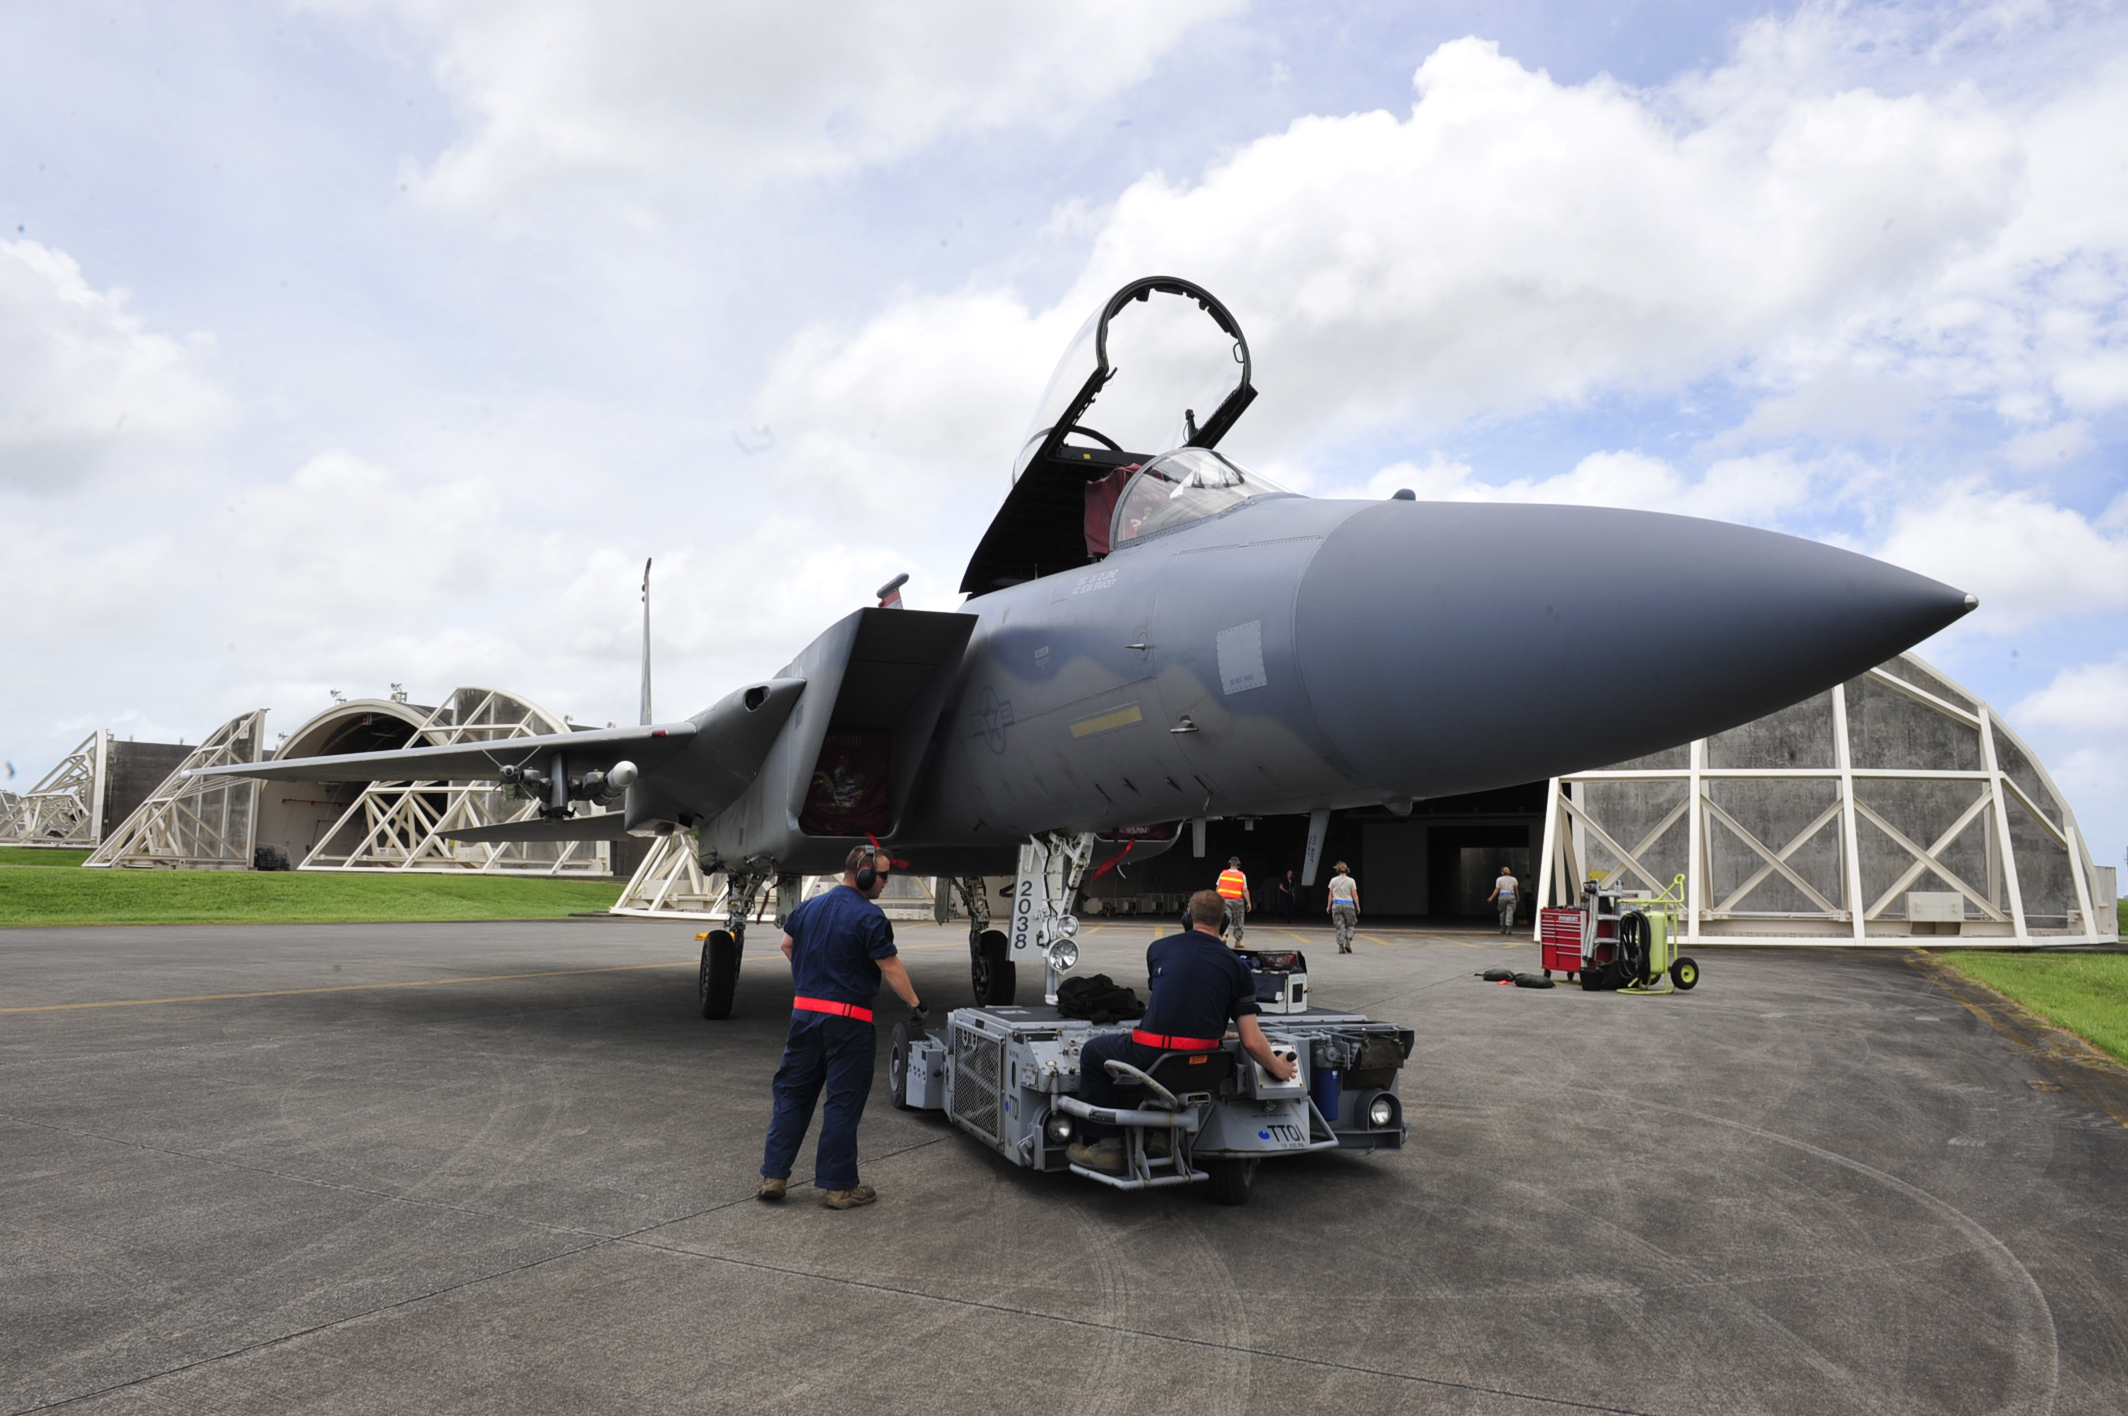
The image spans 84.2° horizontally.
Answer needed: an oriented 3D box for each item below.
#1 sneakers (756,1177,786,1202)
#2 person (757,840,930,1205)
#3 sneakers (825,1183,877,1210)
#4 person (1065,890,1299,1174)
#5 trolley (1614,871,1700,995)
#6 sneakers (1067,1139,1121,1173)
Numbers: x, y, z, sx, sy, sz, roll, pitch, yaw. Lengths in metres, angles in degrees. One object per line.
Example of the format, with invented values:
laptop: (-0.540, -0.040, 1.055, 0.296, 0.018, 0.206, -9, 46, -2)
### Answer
sneakers: (-1.669, 2.775, 6.834, 0.189, 0.148, 0.261, 5, -10, -11)
person: (-1.327, 1.847, 7.039, 0.754, 2.080, 0.857, 6, -10, -12)
sneakers: (-1.210, 2.807, 6.800, 0.307, 0.133, 0.110, -3, 3, -28)
person: (0.700, 1.892, 6.928, 1.255, 1.644, 0.477, 3, -10, 1)
trolley: (8.362, 3.172, 16.894, 1.373, 1.476, 1.277, -3, 3, -22)
sneakers: (0.192, 2.598, 6.892, 0.218, 0.129, 0.205, 5, -8, -23)
